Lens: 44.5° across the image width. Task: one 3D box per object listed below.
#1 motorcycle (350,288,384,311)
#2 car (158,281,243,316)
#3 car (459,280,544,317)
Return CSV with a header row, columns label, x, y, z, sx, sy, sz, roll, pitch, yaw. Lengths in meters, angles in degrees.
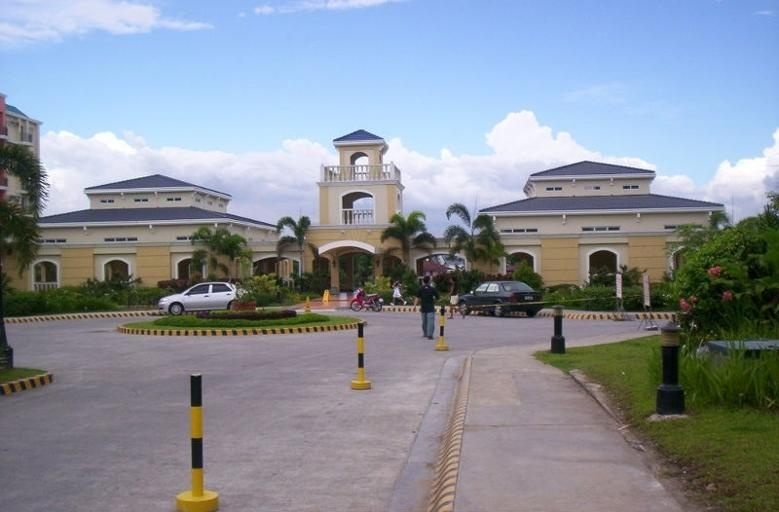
label,x,y,z,sx,sy,sz,roll,pitch,yaw
motorcycle,-1.147,1.935,42.647,1.509,1.016,0.786,2,-1,13
car,-7.997,1.801,40.395,3.288,1.229,1.552,1,-3,-7
car,4.441,1.665,38.164,1.479,0.994,2.891,1,2,-34
